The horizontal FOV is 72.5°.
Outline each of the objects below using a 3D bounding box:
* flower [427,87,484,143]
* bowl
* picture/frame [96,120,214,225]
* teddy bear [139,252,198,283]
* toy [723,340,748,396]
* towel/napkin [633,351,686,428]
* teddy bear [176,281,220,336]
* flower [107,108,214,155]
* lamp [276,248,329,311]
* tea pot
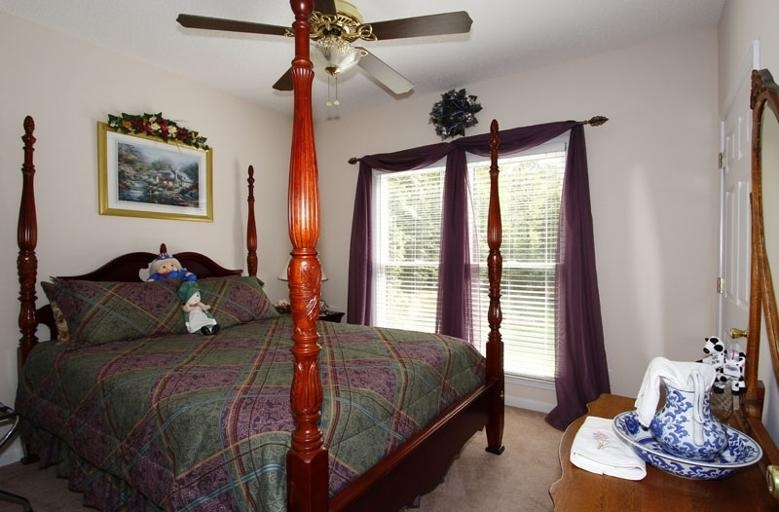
[{"bbox_3d":[0.670,-1.464,5.489,0.485,0.521,0.207,7,21,15],"label":"flower"},{"bbox_3d":[1.616,0.981,2.930,0.398,0.085,0.414,-3,-1,0],"label":"bowl"},{"bbox_3d":[-2.295,-0.808,5.121,0.054,0.871,1.084,-6,-6,42],"label":"picture/frame"},{"bbox_3d":[-2.040,0.136,4.877,0.470,0.206,0.262,-2,-5,-18],"label":"teddy bear"},{"bbox_3d":[2.076,0.682,3.197,0.143,0.253,0.105,6,-7,27],"label":"toy"},{"bbox_3d":[1.500,0.748,3.023,0.356,0.364,0.155,4,-5,-11],"label":"towel/napkin"},{"bbox_3d":[-1.668,0.457,4.580,0.279,0.161,0.509,-12,55,-43],"label":"teddy bear"},{"bbox_3d":[-2.202,-1.228,5.171,0.119,0.269,0.844,-5,0,33],"label":"flower"},{"bbox_3d":[-0.864,0.290,5.620,0.542,0.859,0.550,-1,-7,14],"label":"lamp"},{"bbox_3d":[1.664,0.882,2.953,0.361,0.506,0.485,-2,3,34],"label":"tea pot"}]
